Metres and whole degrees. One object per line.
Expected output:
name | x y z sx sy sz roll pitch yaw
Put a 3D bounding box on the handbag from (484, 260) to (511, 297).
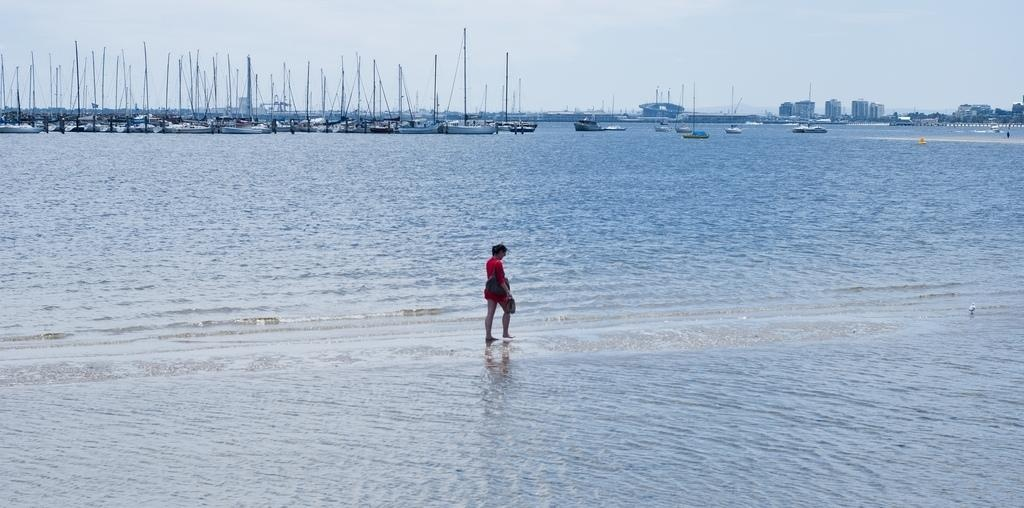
handbag | -0.693 1.091 60.860 1.080 1.768 0.459 1 12 0
